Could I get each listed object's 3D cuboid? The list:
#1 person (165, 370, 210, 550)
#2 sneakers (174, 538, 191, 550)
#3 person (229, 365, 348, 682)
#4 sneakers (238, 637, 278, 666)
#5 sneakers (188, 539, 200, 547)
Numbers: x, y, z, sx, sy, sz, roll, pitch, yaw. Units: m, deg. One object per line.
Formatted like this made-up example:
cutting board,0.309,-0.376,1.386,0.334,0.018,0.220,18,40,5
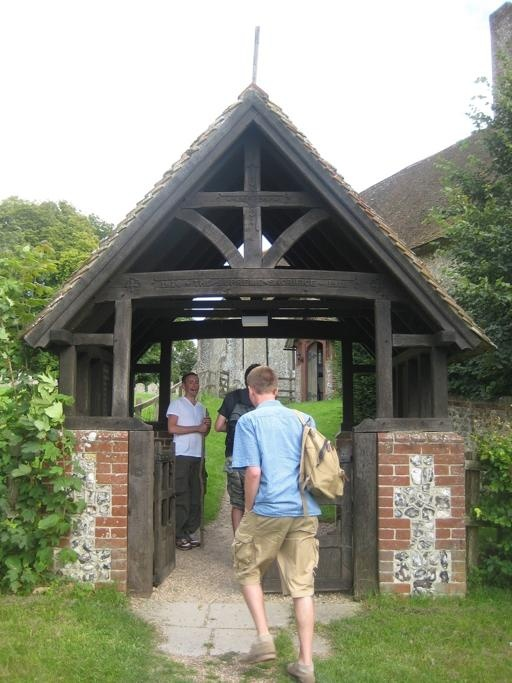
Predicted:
person,-0.782,1.313,8.014,0.571,1.524,0.503,3,-1,-27
sneakers,-0.816,2.233,8.139,0.110,0.085,0.218,1,1,-9
person,0.179,1.131,4.694,0.701,1.431,0.545,2,-1,6
sneakers,-0.026,1.898,4.500,0.112,0.116,0.298,11,-29,-35
sneakers,-0.696,2.254,8.243,0.060,0.064,0.154,2,-2,5
